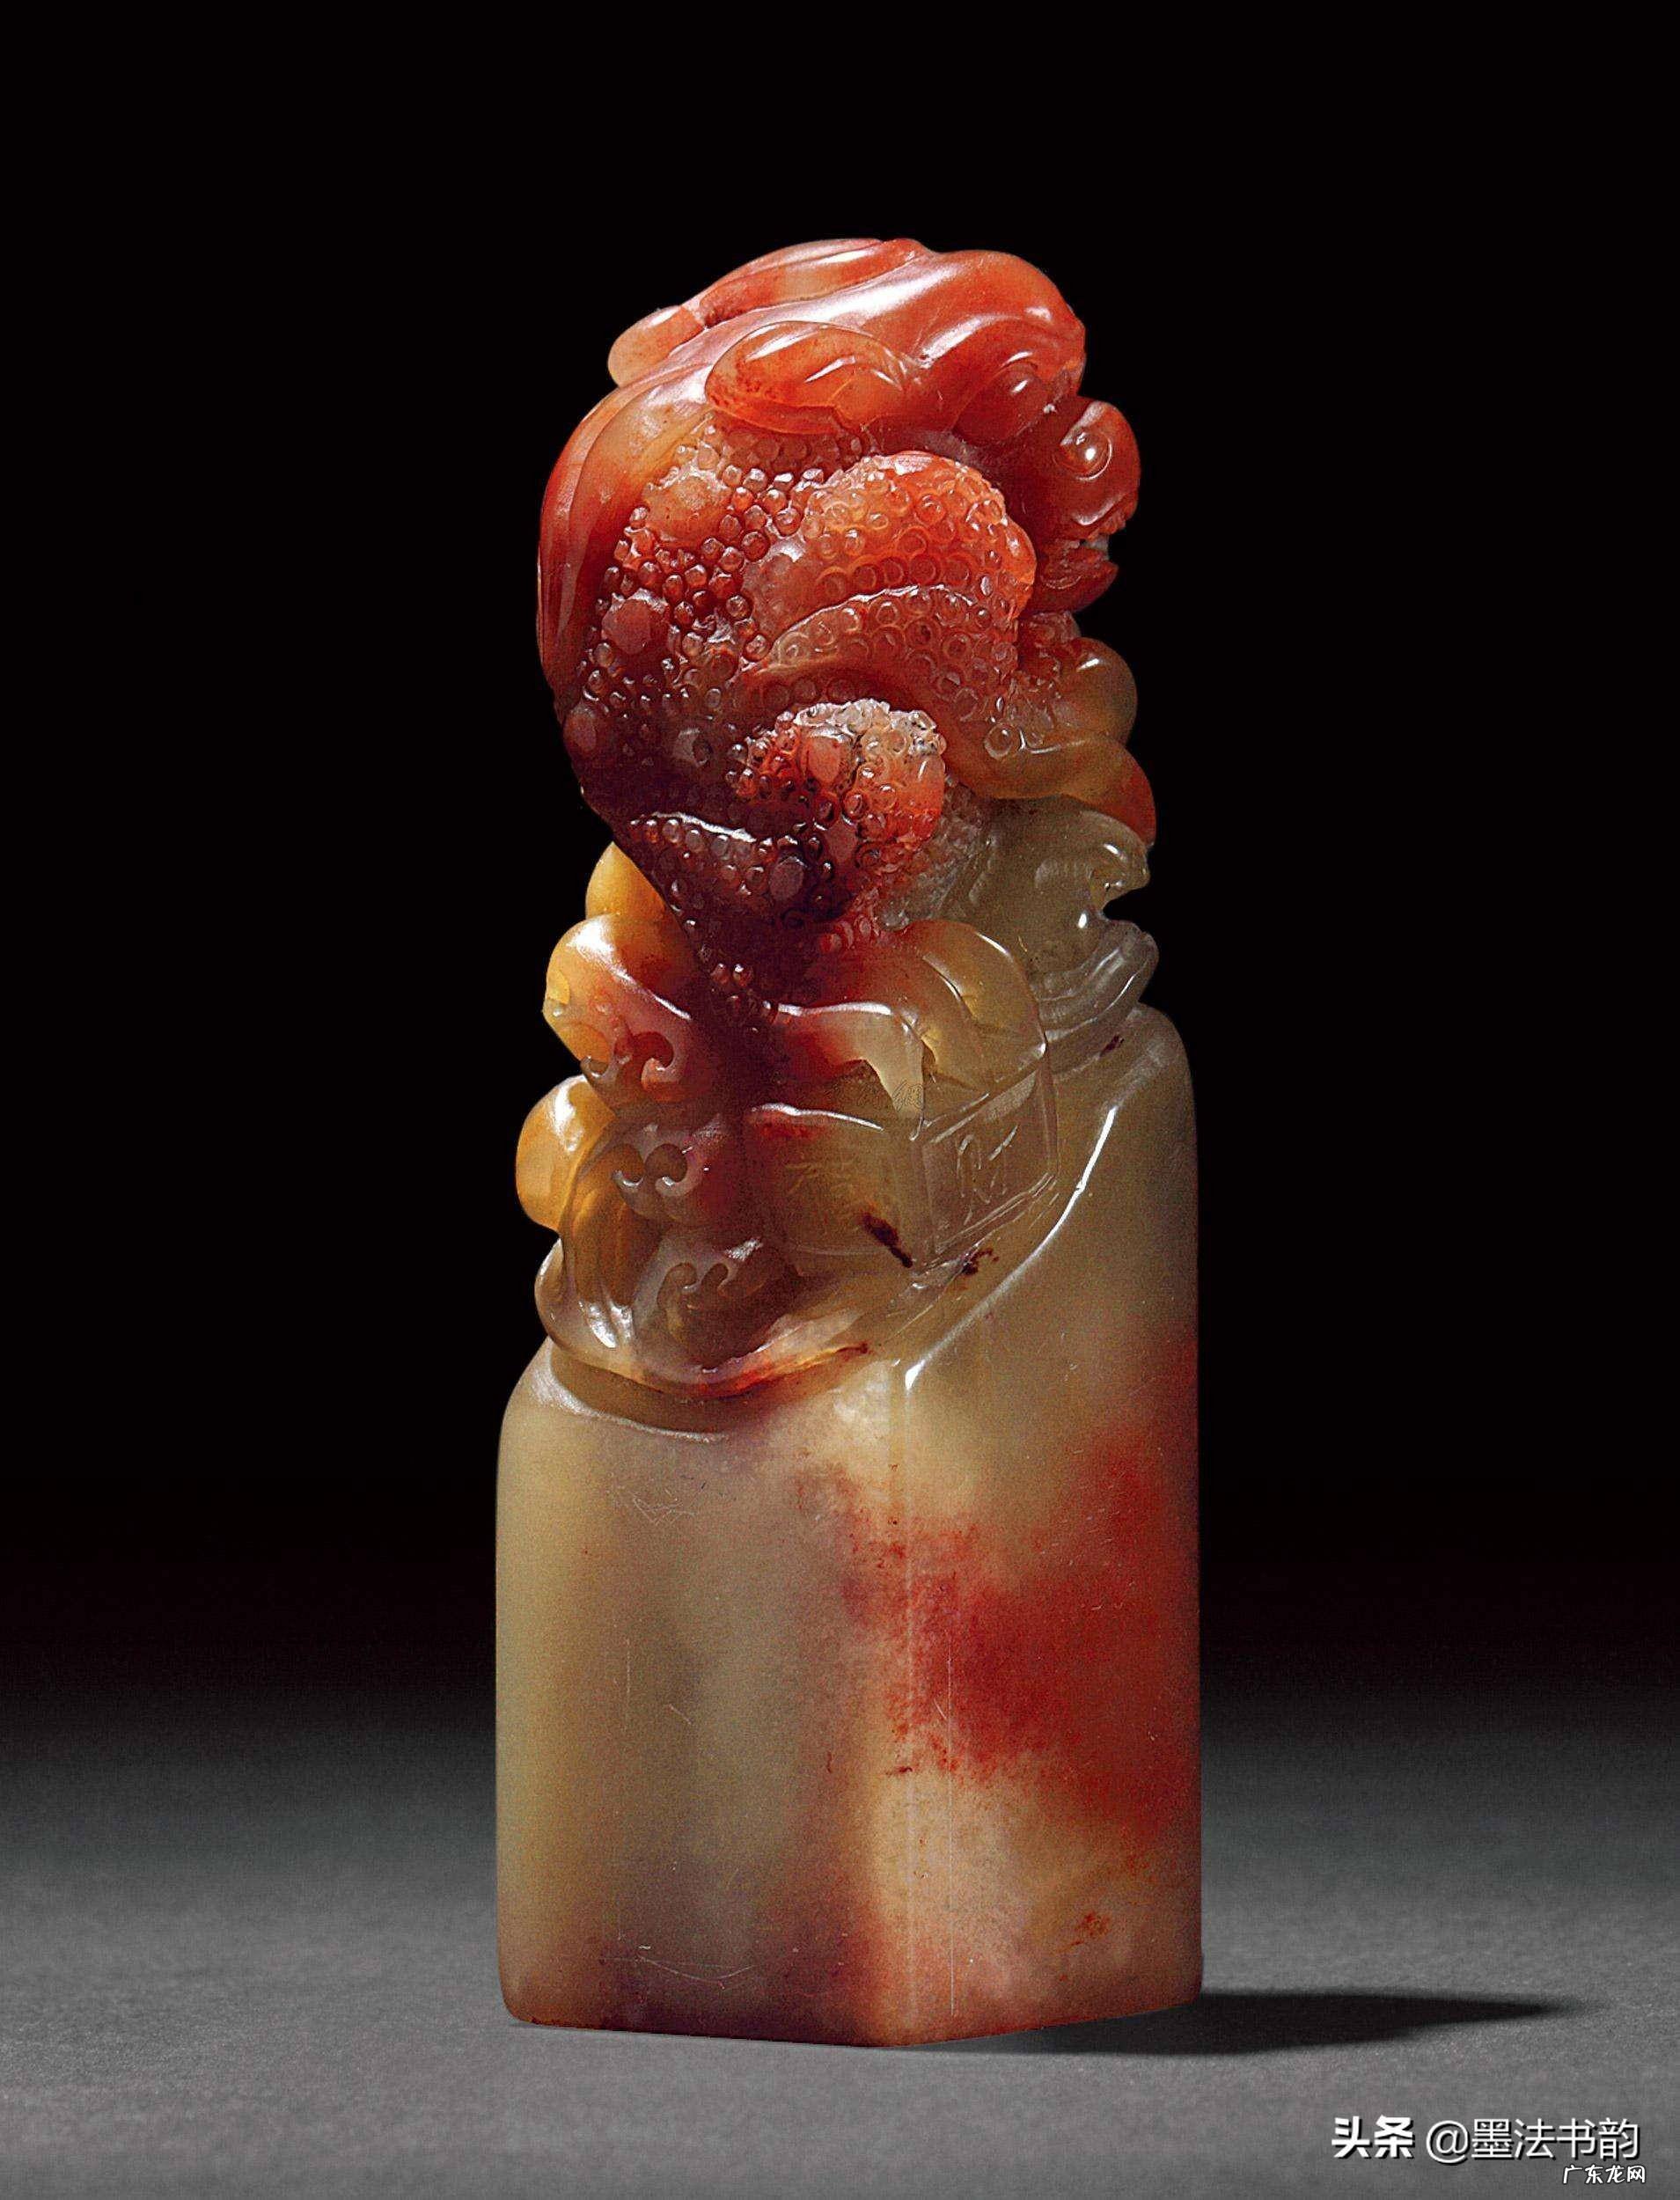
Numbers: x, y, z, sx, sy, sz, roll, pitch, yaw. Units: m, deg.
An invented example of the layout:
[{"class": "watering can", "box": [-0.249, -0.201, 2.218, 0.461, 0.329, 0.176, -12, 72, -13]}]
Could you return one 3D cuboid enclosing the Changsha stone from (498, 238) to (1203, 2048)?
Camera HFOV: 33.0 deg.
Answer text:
[{"class": "Changsha stone", "box": [0.031, 0.026, 2.889, 0.754, 1.842, 0.461, 4, -10, 6]}]
